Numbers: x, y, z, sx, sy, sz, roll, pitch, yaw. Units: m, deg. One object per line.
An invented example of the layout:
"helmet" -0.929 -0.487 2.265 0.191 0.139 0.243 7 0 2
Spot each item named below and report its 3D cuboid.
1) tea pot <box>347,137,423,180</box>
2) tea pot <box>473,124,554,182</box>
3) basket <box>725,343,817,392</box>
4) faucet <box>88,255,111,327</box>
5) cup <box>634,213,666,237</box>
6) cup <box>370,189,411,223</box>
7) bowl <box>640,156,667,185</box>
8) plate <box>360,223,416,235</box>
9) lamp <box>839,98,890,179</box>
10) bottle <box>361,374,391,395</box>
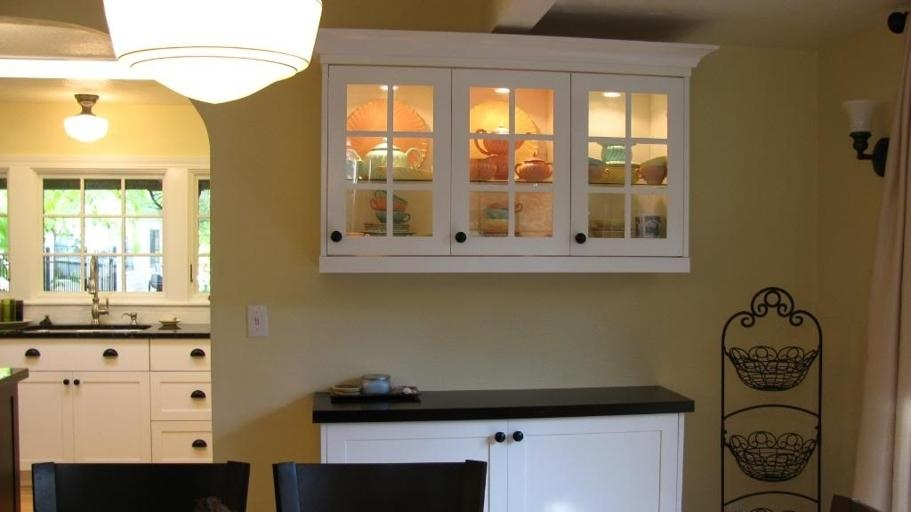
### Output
"tea pot" -0.429 -0.585 4.650 0.400 0.200 0.245 1 1 -1
"tea pot" 0.331 -0.630 4.791 0.438 0.158 0.309 4 18 13
"basket" 2.050 0.726 5.019 0.595 0.271 0.423 -1 -2 8
"faucet" -3.116 0.292 6.753 0.157 0.582 0.247 -1 -2 -29
"cup" 1.201 -0.187 4.871 0.166 0.112 0.162 1 -1 0
"cup" -0.420 -0.306 4.741 0.224 0.171 0.172 -7 2 -18
"bowl" 1.223 -0.539 4.871 0.195 0.172 0.155 2 -4 10
"plate" -0.415 -0.162 4.742 0.303 0.081 0.011 -1 -1 -2
"lamp" 2.527 -0.748 4.802 0.235 0.513 0.351 -2 -2 29
"bottle" -0.508 0.800 4.872 0.138 0.075 0.136 2 -2 0
